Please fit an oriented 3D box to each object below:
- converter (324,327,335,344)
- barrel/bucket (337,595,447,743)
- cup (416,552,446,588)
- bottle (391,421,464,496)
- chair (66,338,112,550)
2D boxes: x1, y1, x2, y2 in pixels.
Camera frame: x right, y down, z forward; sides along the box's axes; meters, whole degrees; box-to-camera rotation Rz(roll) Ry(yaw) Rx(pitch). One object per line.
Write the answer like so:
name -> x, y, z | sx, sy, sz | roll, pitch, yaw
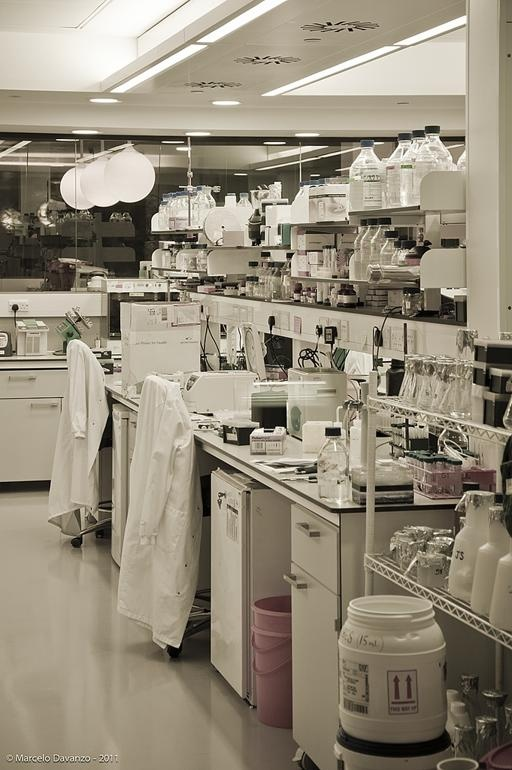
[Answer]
converter -> 0.373, -0.251, 3.398 | 0.043, 0.125, 0.069 | 0, -1, 11
barrel/bucket -> 0.253, 0.503, 1.342 | 0.183, 0.292, 0.197 | 0, -2, 0
cup -> 0.364, 0.387, 1.403 | 0.047, 0.081, 0.054 | 0, 3, -8
bottle -> 0.496, 0.213, 1.994 | 0.078, 0.158, 0.326 | 0, 6, -5
chair -> -1.134, 0.443, 4.646 | 0.272, 1.337, 0.688 | 0, 0, -15
